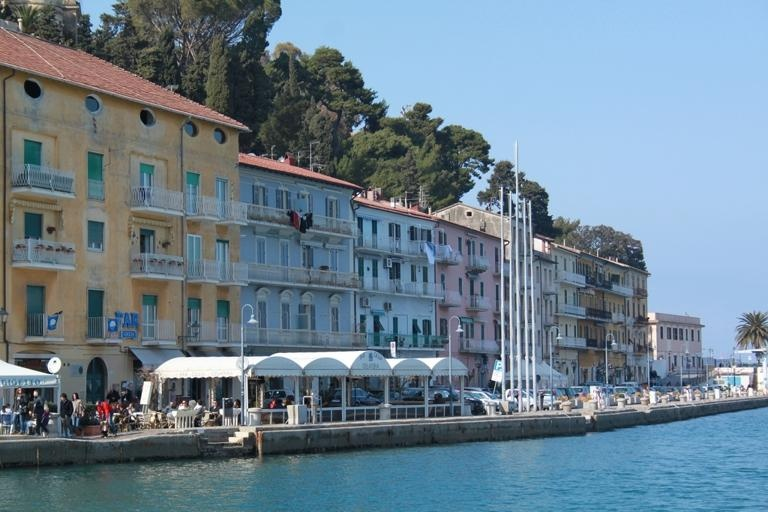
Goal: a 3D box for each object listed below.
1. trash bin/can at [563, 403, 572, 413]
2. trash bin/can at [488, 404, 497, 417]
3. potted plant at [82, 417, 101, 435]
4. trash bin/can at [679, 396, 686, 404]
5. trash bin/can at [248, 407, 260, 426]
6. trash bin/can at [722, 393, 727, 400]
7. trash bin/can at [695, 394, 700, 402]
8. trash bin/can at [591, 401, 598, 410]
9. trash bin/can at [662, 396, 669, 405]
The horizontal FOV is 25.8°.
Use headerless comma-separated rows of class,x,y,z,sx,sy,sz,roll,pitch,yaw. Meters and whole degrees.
trash bin/can,13.610,11.312,124.915,0.689,0.652,0.700,1,-6,-9
trash bin/can,7.640,11.081,120.442,0.732,0.719,0.745,1,-7,-8
potted plant,-18.516,10.550,103.868,1.021,1.007,1.029,-3,-5,38
trash bin/can,27.331,13.211,153.857,0.763,0.756,0.685,-2,-8,12
trash bin/can,-8.544,10.280,107.070,0.776,1.156,1.114,0,-14,-4
trash bin/can,33.790,14.000,166.635,0.471,0.881,0.479,-1,-10,-1
trash bin/can,28.938,13.092,154.930,0.515,0.410,0.524,0,-10,-1
trash bin/can,16.052,11.495,128.944,0.514,0.488,0.521,2,-7,-19
trash bin/can,24.277,12.489,145.331,0.504,0.451,0.512,0,-7,-2
